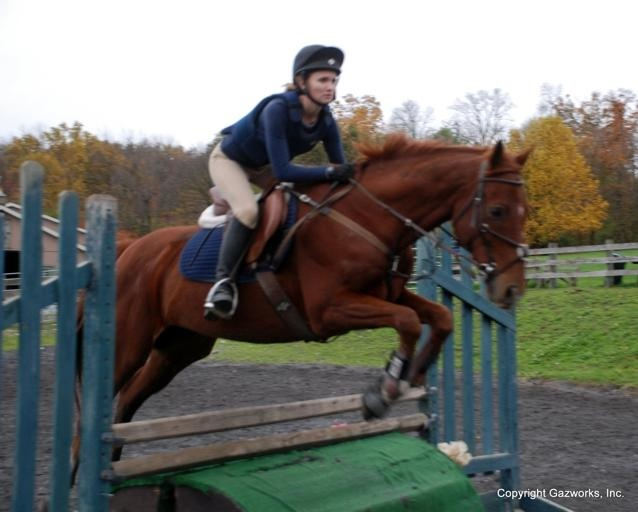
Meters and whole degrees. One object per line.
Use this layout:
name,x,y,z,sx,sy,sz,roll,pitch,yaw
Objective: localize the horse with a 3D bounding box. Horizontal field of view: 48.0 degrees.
horse,-0.118,0.376,4.501,3.703,1.647,0.842,-11,-11,37
